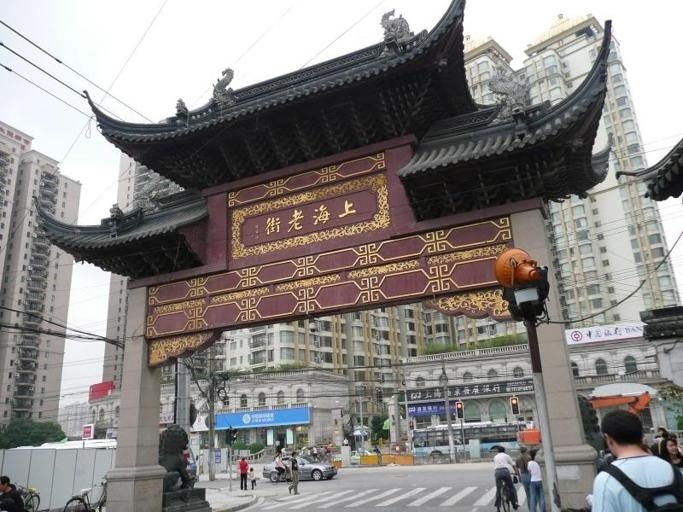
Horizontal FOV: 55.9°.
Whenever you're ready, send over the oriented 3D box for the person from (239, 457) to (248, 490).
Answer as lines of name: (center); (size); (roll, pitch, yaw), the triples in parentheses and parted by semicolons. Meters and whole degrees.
person: (-4.621, 10.175, 30.156); (0.385, 1.456, 2.016); (-3, -19, -10)
